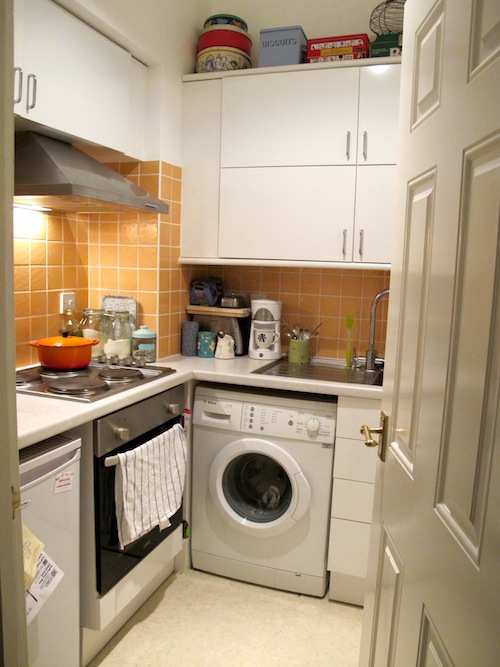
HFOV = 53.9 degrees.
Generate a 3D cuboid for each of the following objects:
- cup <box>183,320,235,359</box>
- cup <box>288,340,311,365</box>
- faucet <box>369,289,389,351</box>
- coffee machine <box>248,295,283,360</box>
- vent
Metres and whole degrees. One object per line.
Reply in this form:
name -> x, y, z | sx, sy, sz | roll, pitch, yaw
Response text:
cup -> -0.212, 0.034, 2.435 | 0.268, 0.171, 0.098 | 2, 4, -3
cup -> 0.234, 0.090, 2.362 | 0.101, 0.122, 0.108 | 1, 0, 0
faucet -> 0.590, -0.061, 2.269 | 0.077, 0.299, 0.388 | 3, 5, 14
coffee machine -> 0.070, -0.016, 2.431 | 0.141, 0.296, 0.122 | 5, 5, 32
vent -> -0.708, -0.623, 1.954 | 0.485, 0.275, 0.824 | -4, 8, 10
